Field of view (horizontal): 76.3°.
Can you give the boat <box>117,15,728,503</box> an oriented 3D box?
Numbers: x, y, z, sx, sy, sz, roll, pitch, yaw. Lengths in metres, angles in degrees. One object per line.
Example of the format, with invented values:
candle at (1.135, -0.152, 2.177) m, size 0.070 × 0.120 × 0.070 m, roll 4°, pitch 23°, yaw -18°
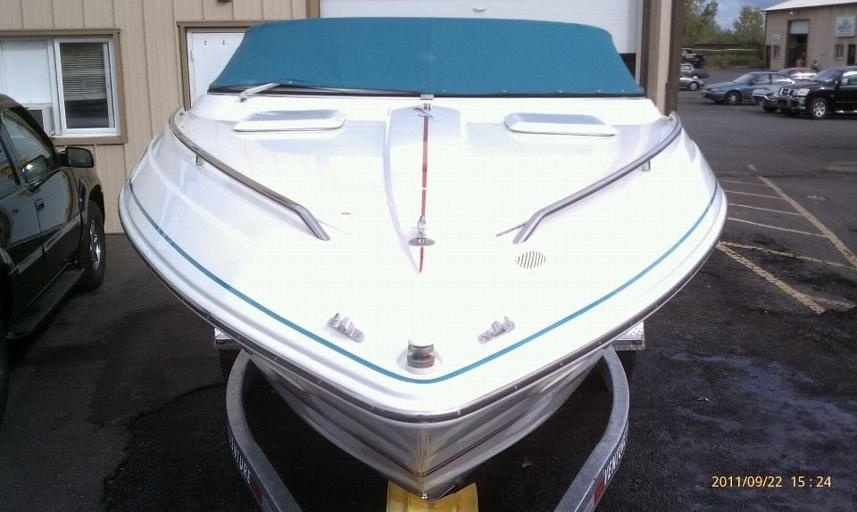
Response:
boat at (-0.016, -0.026, 4.845) m, size 2.985 × 2.031 × 5.132 m, roll 0°, pitch 34°, yaw -1°
